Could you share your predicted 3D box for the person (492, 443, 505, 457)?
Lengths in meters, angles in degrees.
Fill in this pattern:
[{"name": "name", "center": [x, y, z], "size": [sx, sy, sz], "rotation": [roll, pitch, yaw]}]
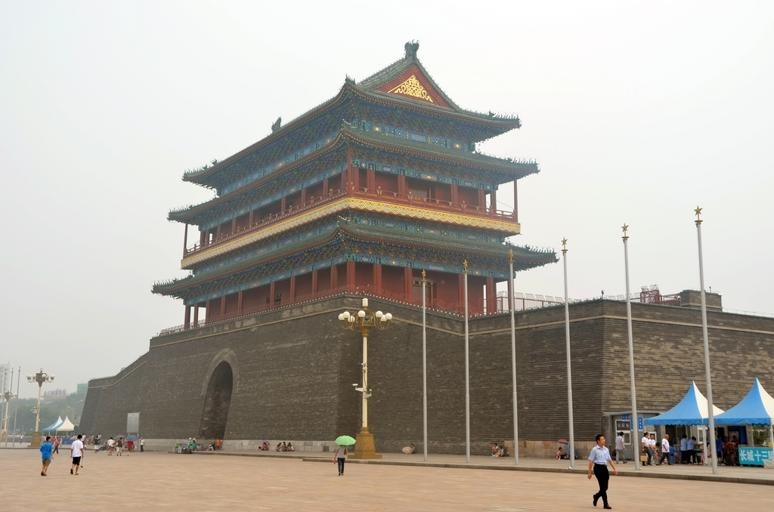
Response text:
[{"name": "person", "center": [5.711, 10.074, 37.466], "size": [0.747, 0.713, 0.658], "rotation": [-12, -23, 30]}]
